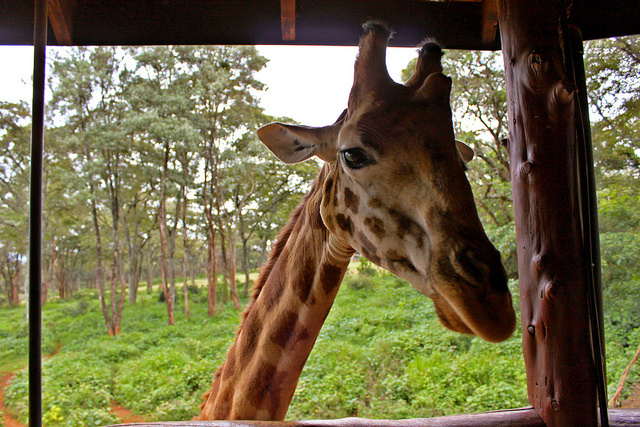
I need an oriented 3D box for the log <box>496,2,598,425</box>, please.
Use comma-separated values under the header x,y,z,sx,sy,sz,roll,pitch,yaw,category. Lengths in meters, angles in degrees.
x,y,z,sx,sy,sz,roll,pitch,yaw,category
3.006,-0.027,7.586,1.021,5.600,1.042,-3,9,18,log
